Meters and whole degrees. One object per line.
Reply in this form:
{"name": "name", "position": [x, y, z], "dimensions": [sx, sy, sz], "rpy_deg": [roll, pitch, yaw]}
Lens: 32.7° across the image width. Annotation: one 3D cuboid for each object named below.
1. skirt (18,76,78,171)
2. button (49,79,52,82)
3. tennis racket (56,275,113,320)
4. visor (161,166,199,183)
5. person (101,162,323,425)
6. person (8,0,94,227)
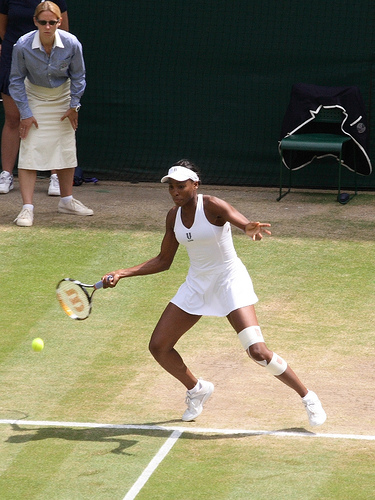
{"name": "skirt", "position": [-1.502, -1.349, 6.937], "dimensions": [0.749, 0.907, 0.292], "rpy_deg": [0, 5, -21]}
{"name": "button", "position": [-1.465, -1.797, 6.775], "dimensions": [0.012, 0.025, 0.019], "rpy_deg": [6, 13, 22]}
{"name": "tennis racket", "position": [-0.648, 0.317, 4.050], "dimensions": [0.042, 0.225, 0.471], "rpy_deg": [-23, 7, -39]}
{"name": "visor", "position": [-0.031, -0.369, 3.130], "dimensions": [0.115, 0.081, 0.167], "rpy_deg": [4, 11, 18]}
{"name": "person", "position": [0.155, 0.215, 3.139], "dimensions": [1.064, 1.263, 0.362], "rpy_deg": [5, 14, 21]}
{"name": "person", "position": [-1.497, -1.388, 6.870], "dimensions": [0.646, 2.305, 0.636], "rpy_deg": [7, 15, 27]}
